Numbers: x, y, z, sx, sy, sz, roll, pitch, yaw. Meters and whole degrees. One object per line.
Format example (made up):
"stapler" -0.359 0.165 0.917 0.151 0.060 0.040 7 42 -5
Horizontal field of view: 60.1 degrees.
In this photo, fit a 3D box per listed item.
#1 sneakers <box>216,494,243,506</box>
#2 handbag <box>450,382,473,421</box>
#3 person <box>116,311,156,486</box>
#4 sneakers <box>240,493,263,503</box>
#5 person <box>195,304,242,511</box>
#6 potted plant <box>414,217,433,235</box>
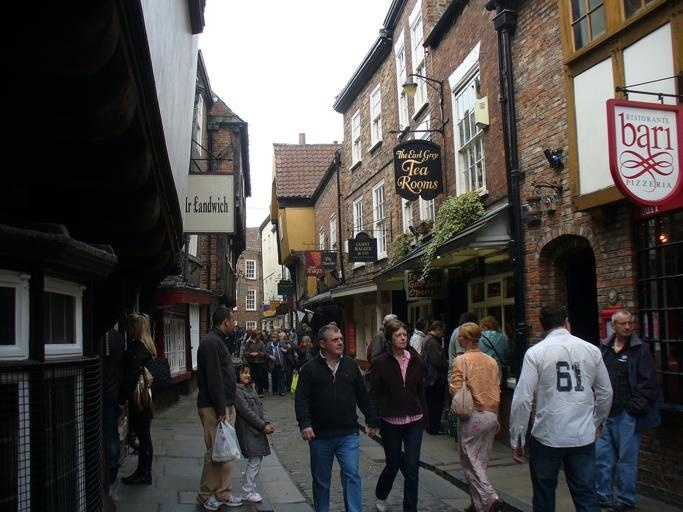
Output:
"sneakers" -1.301 2.876 6.955 0.248 0.128 0.109 0 -5 -7
"handbag" 1.353 1.638 6.639 0.252 0.395 0.147 -4 -11 10
"person" -2.571 1.814 7.500 0.366 2.165 0.663 2 -12 -19
"sneakers" -1.074 2.893 7.098 0.225 0.125 0.102 -2 -7 16
"person" -1.479 1.754 7.003 0.455 2.367 0.557 -4 -11 9
"potted plant" 1.998 -0.672 14.354 0.271 0.329 0.792 2 -14 -19
